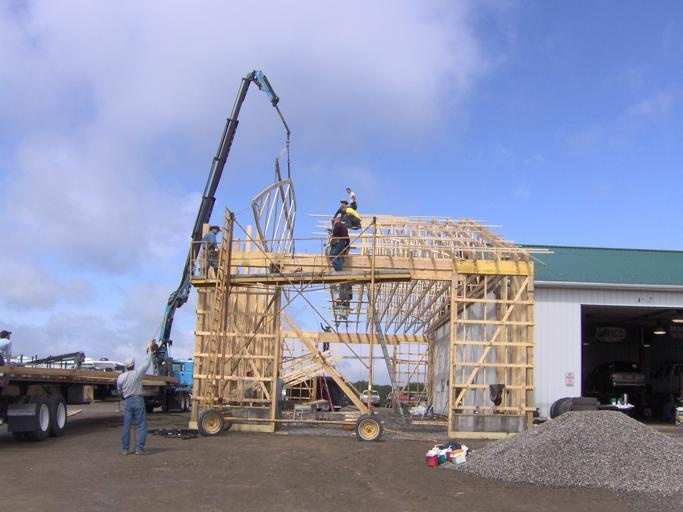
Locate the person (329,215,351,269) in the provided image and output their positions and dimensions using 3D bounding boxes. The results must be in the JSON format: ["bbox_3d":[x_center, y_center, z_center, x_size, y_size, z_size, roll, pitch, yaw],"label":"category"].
[{"bbox_3d":[-0.057,-0.459,23.474,0.577,1.825,1.578,0,-10,0],"label":"person"}]

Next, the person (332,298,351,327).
[{"bbox_3d":[0.007,1.764,27.238,0.818,0.421,2.041,-1,-19,3],"label":"person"}]
